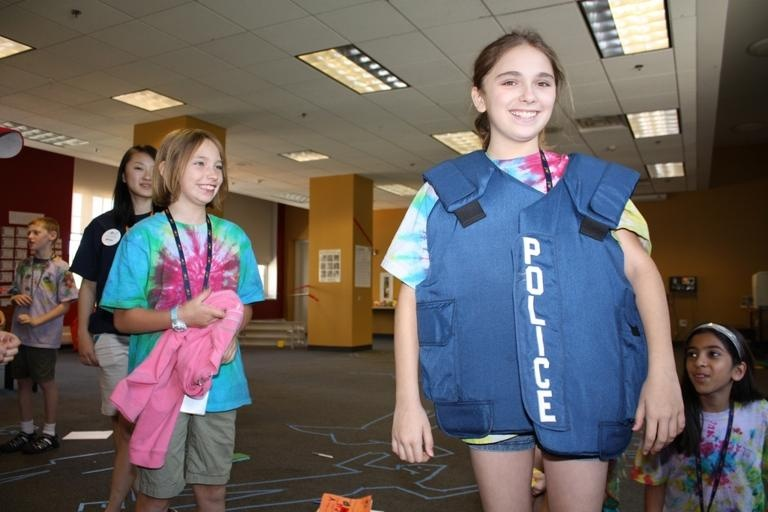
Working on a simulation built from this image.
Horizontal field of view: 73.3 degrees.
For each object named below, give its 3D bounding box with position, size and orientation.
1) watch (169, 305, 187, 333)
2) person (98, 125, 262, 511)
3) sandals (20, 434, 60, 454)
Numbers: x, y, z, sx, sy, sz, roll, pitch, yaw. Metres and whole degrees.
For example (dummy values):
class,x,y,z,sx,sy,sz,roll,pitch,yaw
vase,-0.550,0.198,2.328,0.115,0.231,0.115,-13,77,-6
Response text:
class,x,y,z,sx,sy,sz,roll,pitch,yaw
watch,-0.875,0.274,2.176,0.070,0.103,0.100,-1,17,-10
person,-0.911,0.290,2.323,0.695,1.761,0.412,1,-6,-15
sandals,-2.831,1.545,4.263,0.244,0.136,0.137,3,-7,-32
